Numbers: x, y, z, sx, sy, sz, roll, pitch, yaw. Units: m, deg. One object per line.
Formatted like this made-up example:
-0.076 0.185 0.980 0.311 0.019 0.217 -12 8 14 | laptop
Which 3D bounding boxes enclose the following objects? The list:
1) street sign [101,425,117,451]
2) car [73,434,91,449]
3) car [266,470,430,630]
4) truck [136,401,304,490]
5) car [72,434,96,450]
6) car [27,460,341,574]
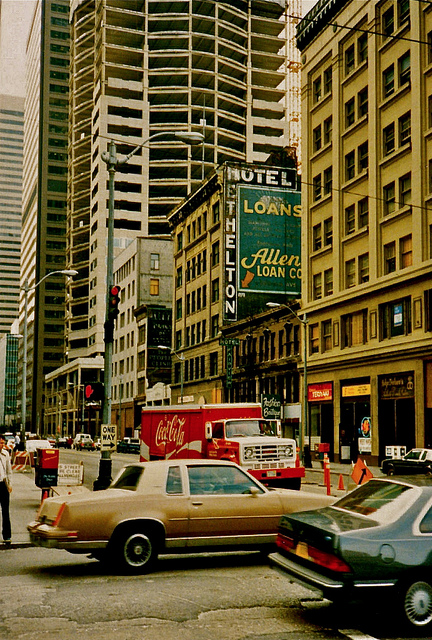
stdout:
-2.318 2.513 21.817 0.498 0.769 0.070 9 -18 -40 | street sign
-11.538 10.439 87.264 1.161 1.185 2.165 3 -5 -14 | car
1.421 2.366 10.508 1.711 0.820 1.053 1 -3 -17 | car
-0.090 3.190 25.637 1.748 2.280 5.188 4 -7 -33 | truck
-10.891 10.086 84.562 1.072 1.096 2.330 2 -11 -16 | car
-0.252 2.730 14.653 4.507 1.523 2.172 1 -9 -18 | car
